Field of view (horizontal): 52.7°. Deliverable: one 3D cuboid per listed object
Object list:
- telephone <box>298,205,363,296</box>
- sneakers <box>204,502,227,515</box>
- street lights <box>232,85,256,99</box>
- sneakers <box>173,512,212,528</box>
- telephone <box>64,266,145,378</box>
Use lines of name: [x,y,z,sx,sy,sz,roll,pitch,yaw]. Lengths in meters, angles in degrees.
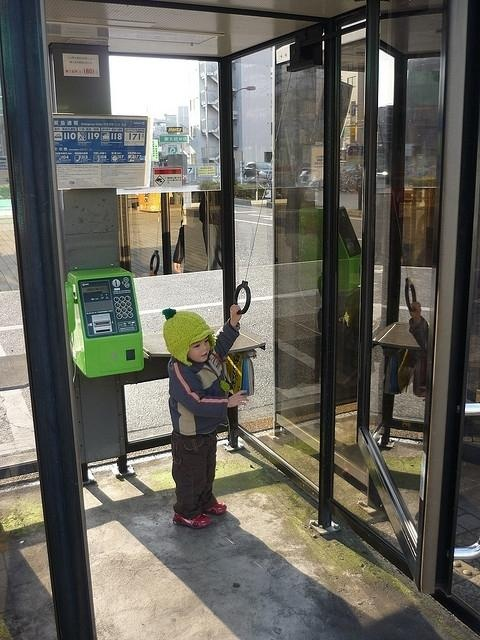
telephone: [0.493,-0.420,2.790,0.132,0.487,0.613,-3,9,-16]
sneakers: [-0.158,1.224,3.147,0.131,0.062,0.064,0,12,4]
street lights: [0.030,-1.598,3.343,0.025,0.076,0.258,-6,10,-35]
sneakers: [-0.295,1.242,2.997,0.211,0.099,0.087,0,7,6]
telephone: [-0.812,-0.004,2.916,0.414,0.598,0.333,-7,24,-26]
